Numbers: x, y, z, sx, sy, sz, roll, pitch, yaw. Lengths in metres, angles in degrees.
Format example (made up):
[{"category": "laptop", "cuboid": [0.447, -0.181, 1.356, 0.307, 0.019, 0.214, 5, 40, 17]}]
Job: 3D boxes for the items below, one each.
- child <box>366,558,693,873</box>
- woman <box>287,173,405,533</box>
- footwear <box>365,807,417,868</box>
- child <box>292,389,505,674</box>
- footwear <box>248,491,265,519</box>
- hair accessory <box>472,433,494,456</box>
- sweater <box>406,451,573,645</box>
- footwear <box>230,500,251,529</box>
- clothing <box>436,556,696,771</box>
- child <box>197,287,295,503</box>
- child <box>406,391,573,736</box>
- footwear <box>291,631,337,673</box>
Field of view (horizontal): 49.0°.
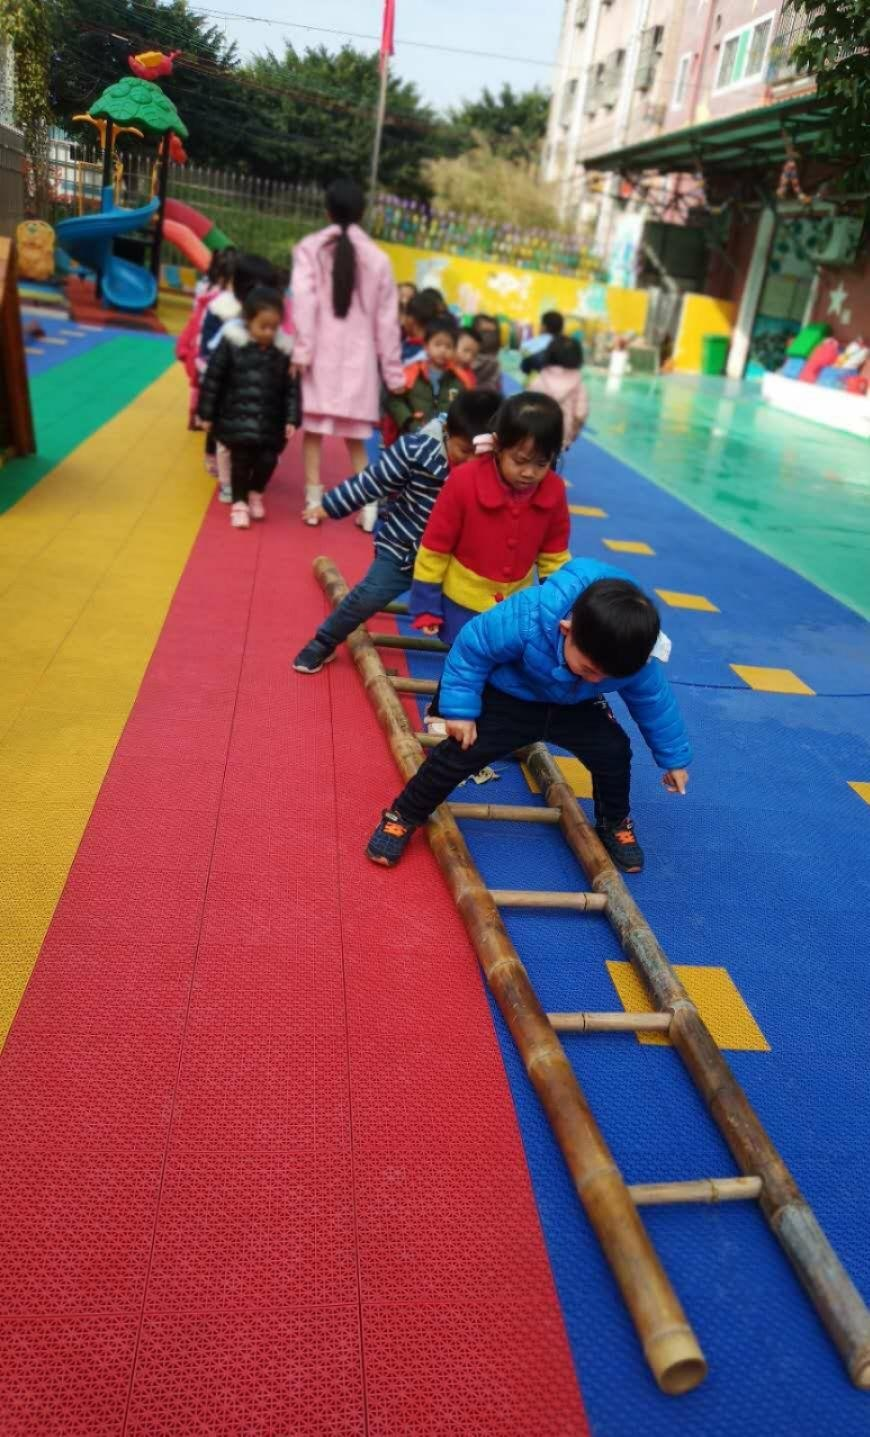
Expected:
[{"category": "child", "cuboid": [0.253, -0.033, 2.297, 0.717, 0.887, 0.438, 8, 40, -6]}, {"category": "woman", "cuboid": [-0.461, -1.861, 4.901, 0.579, 1.581, 0.296, 3, 22, -2]}, {"category": "footwear", "cuboid": [-0.112, 0.283, 2.300, 0.066, 0.071, 0.180, 36, 9, -8]}, {"category": "child", "cuboid": [-0.063, -0.570, 3.160, 0.648, 1.018, 0.428, 0, 37, -31]}, {"category": "footwear", "cuboid": [-0.913, -1.099, 4.925, 0.060, 0.081, 0.180, -9, 47, -11]}, {"category": "hair accessory", "cuboid": [0.132, -0.749, 2.602, 0.053, 0.062, 0.065, 7, 41, 7]}, {"category": "sweater", "cuboid": [0.178, -0.533, 2.839, 0.484, 0.659, 0.246, -5, 49, -9]}, {"category": "footwear", "cuboid": [-0.944, -0.997, 4.662, 0.069, 0.072, 0.190, -4, 32, -10]}, {"category": "clothing", "cuboid": [0.332, -0.150, 2.230, 0.593, 0.475, 0.319, 11, 44, 1]}, {"category": "child", "cuboid": [-0.892, -1.540, 4.667, 0.490, 1.161, 0.458, -5, 41, -22]}, {"category": "child", "cuboid": [0.170, -0.444, 2.852, 0.450, 1.058, 0.349, -4, 33, -18]}, {"category": "footwear", "cuboid": [-0.382, -0.236, 3.258, 0.080, 0.094, 0.201, 38, 40, 5]}]
